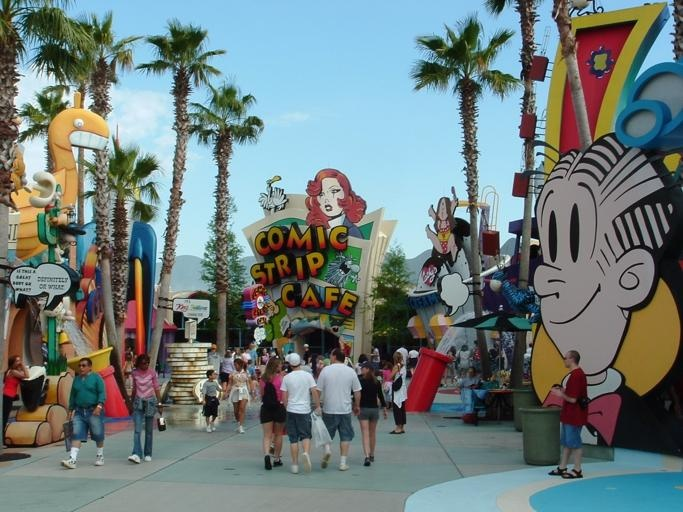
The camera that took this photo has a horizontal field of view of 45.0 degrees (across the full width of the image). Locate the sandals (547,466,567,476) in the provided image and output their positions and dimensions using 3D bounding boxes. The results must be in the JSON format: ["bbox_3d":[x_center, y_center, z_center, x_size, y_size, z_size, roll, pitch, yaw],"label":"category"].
[{"bbox_3d":[4.438,4.398,16.810,0.443,0.211,0.156,0,-9,31],"label":"sandals"}]

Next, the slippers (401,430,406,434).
[{"bbox_3d":[1.665,4.746,22.077,0.076,0.104,0.246,-2,-12,3],"label":"slippers"}]

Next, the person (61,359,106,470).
[{"bbox_3d":[-5.557,3.375,17.738,0.854,2.320,0.936,4,-9,-20],"label":"person"}]

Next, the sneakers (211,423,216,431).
[{"bbox_3d":[-3.544,4.690,22.481,0.137,0.163,0.183,2,6,4],"label":"sneakers"}]

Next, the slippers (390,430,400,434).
[{"bbox_3d":[1.421,4.731,22.037,0.214,0.072,0.084,2,-16,-4],"label":"slippers"}]

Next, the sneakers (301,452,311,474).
[{"bbox_3d":[-0.772,4.313,17.146,0.170,0.470,0.191,-7,7,19],"label":"sneakers"}]

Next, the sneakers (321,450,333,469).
[{"bbox_3d":[-0.321,4.412,17.495,0.159,0.470,0.198,10,27,-8],"label":"sneakers"}]

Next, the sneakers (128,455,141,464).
[{"bbox_3d":[-4.487,4.416,17.813,0.156,0.111,0.246,3,-17,1],"label":"sneakers"}]

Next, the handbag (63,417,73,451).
[{"bbox_3d":[-5.828,3.802,17.447,0.176,0.664,0.251,1,-9,-3],"label":"handbag"}]

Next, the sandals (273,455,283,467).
[{"bbox_3d":[-1.388,4.490,17.945,0.100,0.219,0.295,1,3,11],"label":"sandals"}]

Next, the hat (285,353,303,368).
[{"bbox_3d":[-1.061,2.202,17.638,0.229,0.196,0.359,-8,22,-12],"label":"hat"}]

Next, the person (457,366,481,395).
[{"bbox_3d":[3.923,3.768,25.016,0.652,0.780,0.894,-1,-9,9],"label":"person"}]

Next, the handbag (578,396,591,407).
[{"bbox_3d":[4.908,2.968,16.597,0.288,0.225,0.109,8,-12,-40],"label":"handbag"}]

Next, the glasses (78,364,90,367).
[{"bbox_3d":[-5.518,2.358,17.562,0.181,0.072,0.141,4,-10,-17],"label":"glasses"}]

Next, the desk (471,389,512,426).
[{"bbox_3d":[4.600,4.541,24.909,1.485,1.164,0.833,1,-7,-13],"label":"desk"}]

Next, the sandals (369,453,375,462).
[{"bbox_3d":[0.655,4.447,18.030,0.092,0.116,0.245,1,1,0],"label":"sandals"}]

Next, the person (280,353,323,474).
[{"bbox_3d":[-0.894,3.331,17.424,0.798,2.491,0.532,1,-9,-5],"label":"person"}]

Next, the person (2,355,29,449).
[{"bbox_3d":[-7.731,3.391,19.305,0.519,2.041,1.356,4,-9,-22],"label":"person"}]

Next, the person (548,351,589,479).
[{"bbox_3d":[4.633,3.217,16.684,0.656,2.538,0.669,7,-11,-37],"label":"person"}]

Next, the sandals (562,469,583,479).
[{"bbox_3d":[4.662,4.418,16.596,0.360,0.157,0.196,5,-12,-6],"label":"sandals"}]
